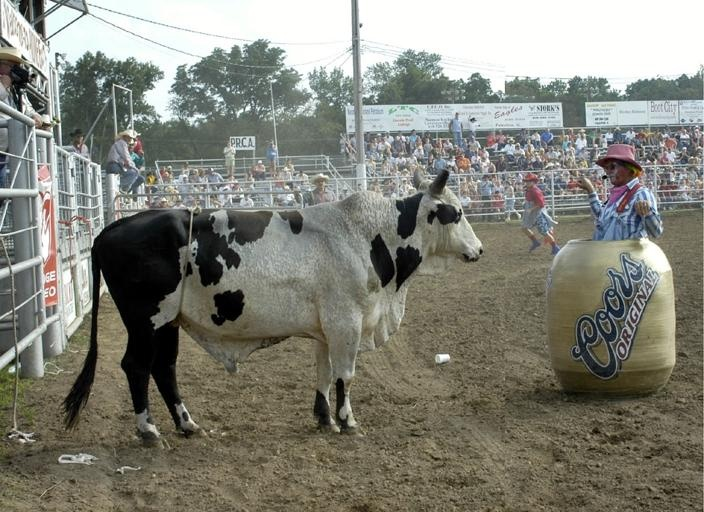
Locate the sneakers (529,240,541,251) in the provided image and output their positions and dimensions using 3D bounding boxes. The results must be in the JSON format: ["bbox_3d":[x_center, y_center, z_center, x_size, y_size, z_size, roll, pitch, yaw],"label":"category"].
[{"bbox_3d":[4.185,-0.230,19.087,0.235,0.177,0.541,40,13,21],"label":"sneakers"}]

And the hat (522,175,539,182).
[{"bbox_3d":[3.997,-1.755,18.681,0.306,0.114,0.318,-2,3,-19],"label":"hat"}]

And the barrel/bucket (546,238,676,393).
[{"bbox_3d":[3.024,0.649,9.805,1.486,1.742,1.468,-6,4,0],"label":"barrel/bucket"}]

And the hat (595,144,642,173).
[{"bbox_3d":[3.055,-1.140,9.507,0.451,0.289,0.451,4,14,13],"label":"hat"}]

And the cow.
[{"bbox_3d":[-0.979,0.713,9.844,3.608,2.339,1.149,0,-11,-16],"label":"cow"}]
